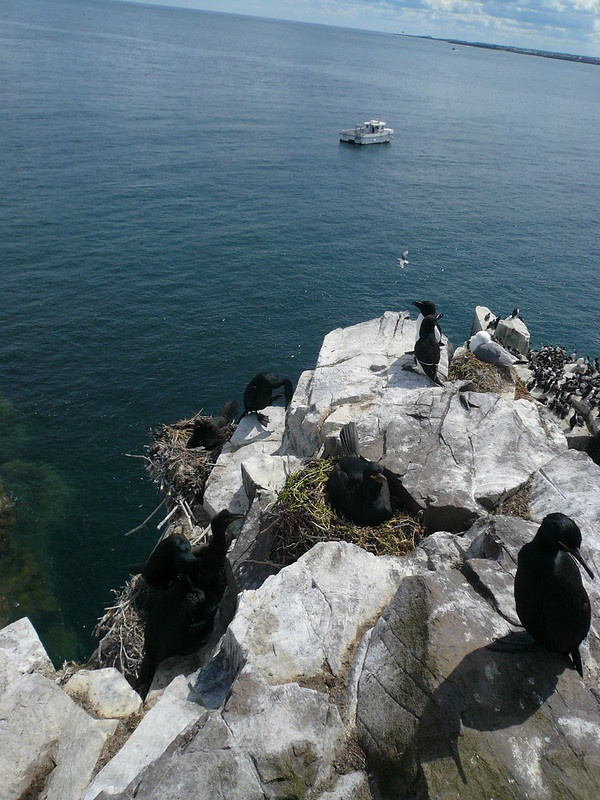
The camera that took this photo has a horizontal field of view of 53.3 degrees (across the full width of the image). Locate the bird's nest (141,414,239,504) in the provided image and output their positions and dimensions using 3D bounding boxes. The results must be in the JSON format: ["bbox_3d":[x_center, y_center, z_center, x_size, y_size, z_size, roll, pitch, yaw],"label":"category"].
[{"bbox_3d":[-2.150,1.623,13.026,1.706,0.916,1.841,20,71,44],"label":"bird's nest"}]

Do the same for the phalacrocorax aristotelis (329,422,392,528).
[{"bbox_3d":[0.768,1.085,8.463,0.602,0.861,1.349,-3,56,-22],"label":"phalacrocorax aristotelis"}]

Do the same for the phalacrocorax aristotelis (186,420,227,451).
[{"bbox_3d":[-2.129,0.862,13.470,0.759,0.755,0.592,-21,16,-16],"label":"phalacrocorax aristotelis"}]
